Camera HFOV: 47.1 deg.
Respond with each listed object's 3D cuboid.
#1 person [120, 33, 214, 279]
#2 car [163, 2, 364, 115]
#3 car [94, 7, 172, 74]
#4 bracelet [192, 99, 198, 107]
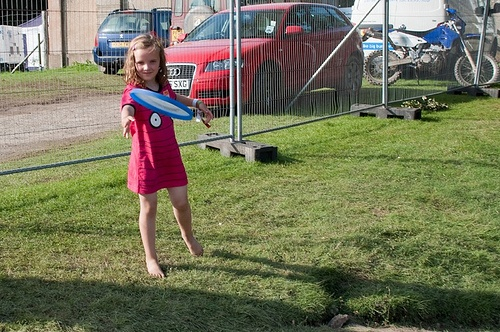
[{"bbox_3d":[-0.853,-0.113,5.578,0.727,2.251,0.583,-4,14,-14],"label":"person"},{"bbox_3d":[0.430,-1.715,9.587,1.668,1.325,2.977,7,14,40],"label":"car"},{"bbox_3d":[-1.713,-1.978,8.482,0.874,0.811,1.674,2,27,6],"label":"car"},{"bbox_3d":[-0.552,-0.624,5.737,0.049,0.118,0.127,3,7,-4],"label":"bracelet"}]
